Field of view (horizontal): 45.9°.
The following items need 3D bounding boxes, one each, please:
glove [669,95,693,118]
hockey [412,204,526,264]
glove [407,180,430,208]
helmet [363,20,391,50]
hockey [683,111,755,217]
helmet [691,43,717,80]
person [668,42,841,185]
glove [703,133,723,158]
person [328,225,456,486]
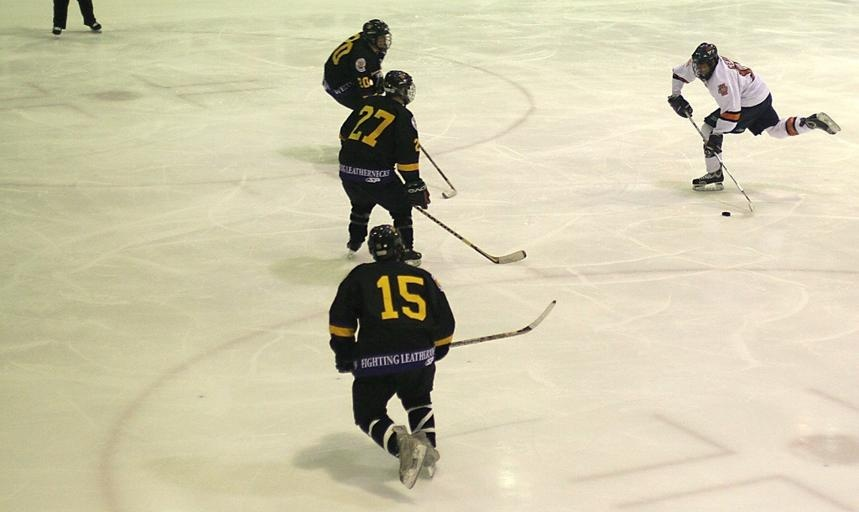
[{"bbox_3d":[2.757,-1.661,11.260,0.156,0.192,0.363,-39,-22,15],"label":"glove"},{"bbox_3d":[0.298,-0.231,9.257,0.199,0.138,1.579,-5,-23,42],"label":"hockey"},{"bbox_3d":[-0.105,-0.561,9.222,0.288,0.220,0.123,-3,24,2],"label":"glove"},{"bbox_3d":[-0.580,-2.384,10.973,0.279,0.330,0.213,-6,28,-7],"label":"helmet"},{"bbox_3d":[3.151,-0.973,11.028,0.081,1.560,0.270,-34,-6,-14],"label":"hockey"},{"bbox_3d":[2.901,-2.046,10.706,0.286,0.399,0.254,3,28,10],"label":"helmet"},{"bbox_3d":[3.395,-1.550,10.973,1.502,1.547,1.058,-1,27,2],"label":"person"},{"bbox_3d":[3.037,-1.194,10.883,0.181,0.244,0.219,3,26,10],"label":"glove"},{"bbox_3d":[-0.213,0.737,7.530,0.894,1.821,1.263,-14,29,-19],"label":"person"}]
